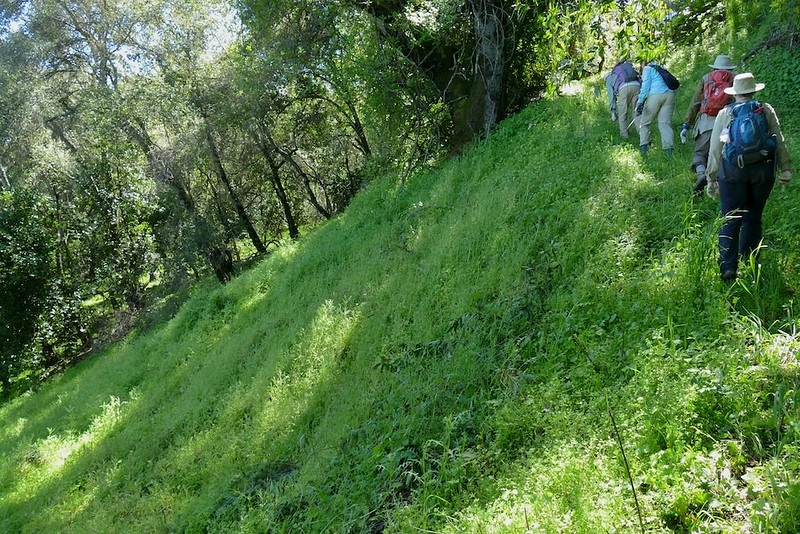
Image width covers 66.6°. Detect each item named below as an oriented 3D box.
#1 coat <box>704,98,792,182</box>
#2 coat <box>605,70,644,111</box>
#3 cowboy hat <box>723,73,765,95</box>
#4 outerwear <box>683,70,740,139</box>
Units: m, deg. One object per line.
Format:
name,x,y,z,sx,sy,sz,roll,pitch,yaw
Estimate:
coat,6.331,-2.234,11.112,1.393,1.576,0.595,-1,54,33
coat,5.354,-4.296,14.937,0.427,0.479,1.329,-15,44,19
cowboy hat,6.285,-3.258,11.063,0.584,0.222,0.633,-2,37,44
outerwear,6.561,-3.406,12.863,0.548,1.498,0.891,5,14,-39
